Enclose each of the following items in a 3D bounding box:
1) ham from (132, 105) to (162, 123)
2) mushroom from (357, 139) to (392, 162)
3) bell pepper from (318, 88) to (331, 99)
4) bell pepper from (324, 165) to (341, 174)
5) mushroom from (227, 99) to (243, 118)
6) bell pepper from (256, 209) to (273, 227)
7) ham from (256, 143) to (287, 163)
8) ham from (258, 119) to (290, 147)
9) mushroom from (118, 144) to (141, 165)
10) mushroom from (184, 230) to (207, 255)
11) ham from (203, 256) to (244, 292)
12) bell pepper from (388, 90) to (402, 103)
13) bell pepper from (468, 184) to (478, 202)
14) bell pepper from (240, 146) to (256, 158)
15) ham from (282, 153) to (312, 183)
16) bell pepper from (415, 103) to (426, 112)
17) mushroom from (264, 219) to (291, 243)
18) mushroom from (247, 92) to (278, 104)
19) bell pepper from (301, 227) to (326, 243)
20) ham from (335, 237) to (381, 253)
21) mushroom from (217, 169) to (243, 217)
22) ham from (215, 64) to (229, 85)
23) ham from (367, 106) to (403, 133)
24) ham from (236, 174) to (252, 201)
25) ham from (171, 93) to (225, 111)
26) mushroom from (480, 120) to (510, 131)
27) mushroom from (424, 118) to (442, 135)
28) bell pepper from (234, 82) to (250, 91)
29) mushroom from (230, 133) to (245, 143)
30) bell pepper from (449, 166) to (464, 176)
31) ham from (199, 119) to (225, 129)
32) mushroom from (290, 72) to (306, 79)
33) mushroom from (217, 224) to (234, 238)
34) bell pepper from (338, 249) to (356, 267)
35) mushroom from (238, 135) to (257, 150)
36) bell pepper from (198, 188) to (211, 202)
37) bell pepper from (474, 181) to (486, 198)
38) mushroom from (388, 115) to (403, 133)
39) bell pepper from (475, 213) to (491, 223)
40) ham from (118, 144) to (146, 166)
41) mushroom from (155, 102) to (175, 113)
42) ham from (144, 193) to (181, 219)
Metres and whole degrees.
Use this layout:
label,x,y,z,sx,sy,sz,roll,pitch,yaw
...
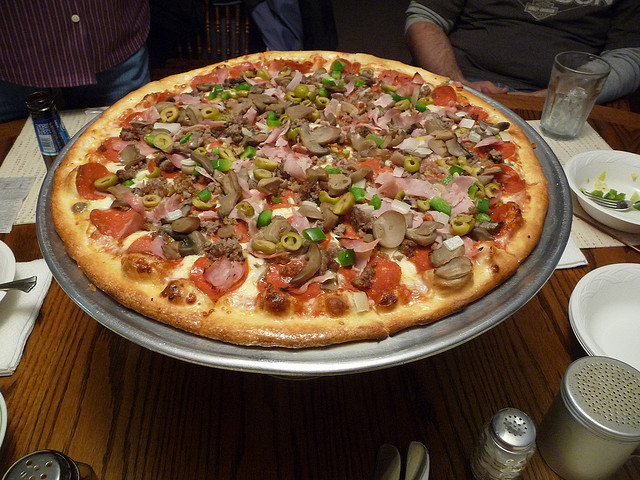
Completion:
label,x,y,z,sx,sy,sz,roll,pitch,yaw
ham,-0.901,-0.664,2.625,0.129,0.039,0.120,-14,53,2
mushroom,0.260,-0.446,2.396,0.141,0.040,0.119,-4,74,8
bell pepper,0.026,-0.827,2.764,0.053,0.065,0.038,-27,36,16
bell pepper,0.049,-0.331,2.292,0.051,0.015,0.050,11,39,11
mushroom,-0.447,-0.701,2.616,0.118,0.029,0.106,-11,53,6
bell pepper,-0.228,-0.092,2.064,0.069,0.018,0.060,-24,40,36
ham,-0.234,-0.427,2.347,0.131,0.033,0.079,5,74,-1
ham,-0.206,-0.542,2.466,0.062,0.066,0.227,41,61,17
mushroom,-0.917,-0.412,2.362,0.082,0.031,0.104,40,60,6
mushroom,-0.515,0.007,2.017,0.096,0.029,0.082,0,64,-4
ham,-0.379,0.127,1.908,0.135,0.036,0.122,-42,80,-15
bell pepper,0.424,-0.811,2.738,0.051,0.061,0.063,17,21,-3
bell pepper,0.696,-0.222,2.213,0.048,0.025,0.058,-6,77,32
bell pepper,-0.346,-0.422,2.358,0.057,0.022,0.057,-38,61,-18
ham,-0.107,-0.362,2.289,0.137,0.037,0.146,14,37,-27
bell pepper,0.548,-0.726,2.655,0.058,0.044,0.042,4,34,6
mushroom,-0.173,-0.044,2.008,0.089,0.043,0.106,27,44,-1
mushroom,-0.306,-0.776,2.648,0.131,0.029,0.076,11,29,-16
bell pepper,-0.026,-0.024,2.010,0.071,0.019,0.068,-9,53,-22
ham,0.147,0.017,1.980,0.114,0.024,0.066,-7,25,-3
mushroom,-0.398,-0.202,2.150,0.131,0.061,0.289,1,48,-8
ham,-0.580,-0.987,2.895,0.102,0.039,0.113,-2,87,-9
ham,0.348,-0.652,2.615,0.184,0.032,0.110,-27,71,-11
ham,-0.345,-0.239,2.194,0.081,0.038,0.098,10,45,-34
ham,-0.689,-0.744,2.662,0.328,0.042,0.091,13,68,9
mushroom,0.925,-0.606,2.561,0.160,0.045,0.053,2,49,31
mushroom,0.578,-0.587,2.526,0.069,0.070,0.078,-8,43,-4
bell pepper,-0.441,-0.883,2.785,0.074,0.040,0.053,-24,46,-26
mushroom,-0.406,-0.509,2.404,0.052,0.018,0.044,-6,96,0
bell pepper,0.653,-0.339,2.343,0.061,0.044,0.048,0,38,19
ham,-0.540,-0.595,2.474,0.053,0.030,0.078,-39,46,-24
mushroom,-0.137,-0.988,2.932,0.076,0.024,0.070,16,49,23
mushroom,-0.393,-0.044,2.040,0.061,0.014,0.053,-9,56,0
bell pepper,0.110,0.070,1.940,0.064,0.066,0.046,-18,87,-7
mushroom,-0.354,-0.484,2.394,0.066,0.017,0.063,-6,31,42
bell pepper,-0.507,-0.206,2.159,0.064,0.048,0.049,-18,17,-17
bell pepper,0.736,-0.230,2.226,0.068,0.030,0.069,8,74,-31
mushroom,0.397,-0.617,2.560,0.112,0.032,0.097,-2,87,31
bell pepper,0.721,-0.103,2.155,0.044,0.020,0.059,-24,37,-32
ham,-0.895,-0.402,2.352,0.118,0.027,0.114,-33,67,-27
mushroom,-0.820,-0.713,2.609,0.088,0.026,0.082,-21,47,-12
ham,-0.681,-0.146,2.124,0.095,0.039,0.134,24,57,16
